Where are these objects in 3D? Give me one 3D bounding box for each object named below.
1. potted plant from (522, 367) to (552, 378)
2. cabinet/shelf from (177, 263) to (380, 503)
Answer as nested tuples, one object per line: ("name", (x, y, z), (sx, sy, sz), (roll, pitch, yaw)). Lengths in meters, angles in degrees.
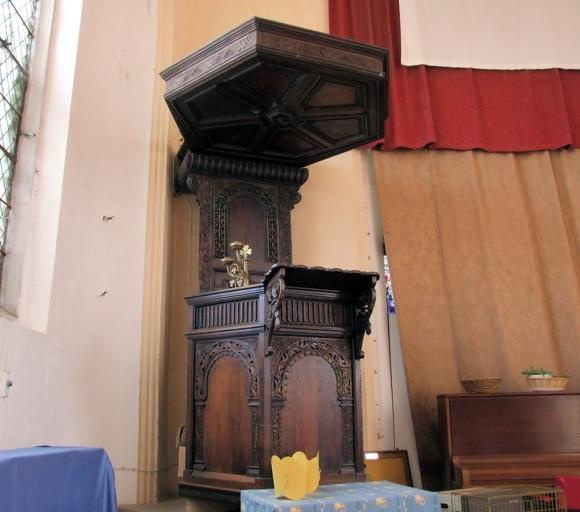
("potted plant", (2.511, 1.185, 5.624), (0.220, 0.087, 0.199), (0, -17, -7))
("cabinet/shelf", (-0.074, 0.877, 4.444), (1.429, 1.783, 1.482), (7, -18, -25))
